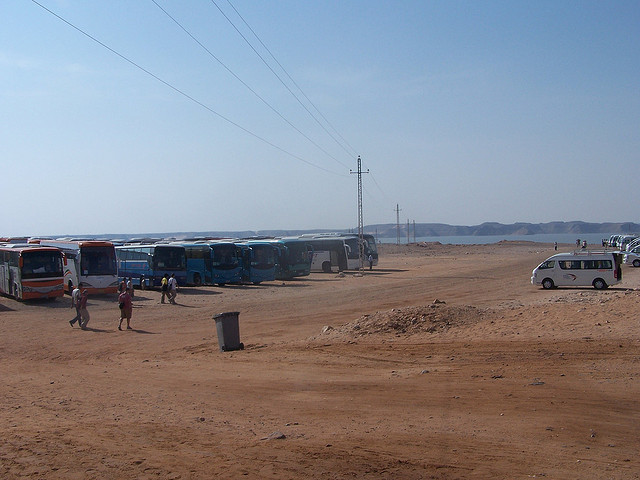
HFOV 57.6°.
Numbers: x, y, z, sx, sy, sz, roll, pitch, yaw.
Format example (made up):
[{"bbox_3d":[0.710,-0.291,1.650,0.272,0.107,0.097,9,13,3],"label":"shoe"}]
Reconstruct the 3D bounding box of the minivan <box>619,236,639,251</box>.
[{"bbox_3d":[39.770,0.588,74.939,1.591,1.427,5.959,3,9,42],"label":"minivan"}]

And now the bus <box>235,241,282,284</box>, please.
[{"bbox_3d":[-7.371,2.160,53.361,2.644,3.124,8.399,-2,-1,-39],"label":"bus"}]

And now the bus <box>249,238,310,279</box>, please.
[{"bbox_3d":[-3.660,1.894,53.033,4.465,4.149,11.329,0,-1,-34],"label":"bus"}]

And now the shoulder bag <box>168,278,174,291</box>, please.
[{"bbox_3d":[-9.558,2.960,37.441,0.122,0.521,0.613,-5,3,-36],"label":"shoulder bag"}]

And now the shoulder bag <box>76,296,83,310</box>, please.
[{"bbox_3d":[-11.691,3.120,28.405,0.435,0.488,0.159,-2,3,26],"label":"shoulder bag"}]
